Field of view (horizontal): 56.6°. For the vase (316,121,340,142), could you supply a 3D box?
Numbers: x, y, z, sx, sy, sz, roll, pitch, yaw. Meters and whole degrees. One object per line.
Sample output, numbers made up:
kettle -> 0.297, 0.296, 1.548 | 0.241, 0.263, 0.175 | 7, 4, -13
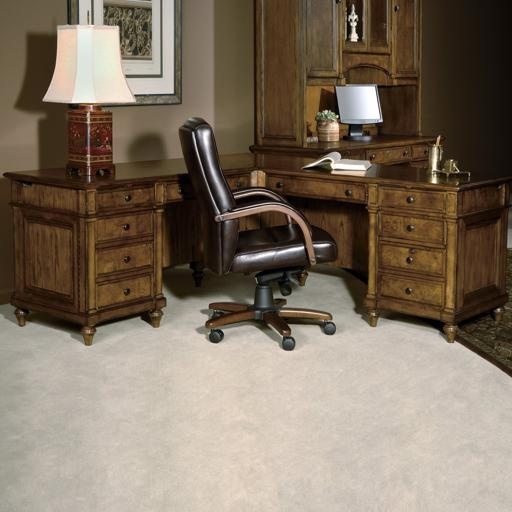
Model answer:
vase -> 0.590, -1.006, 3.886 | 0.166, 0.140, 0.166 | 0, 9, 9

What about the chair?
chair -> 0.025, -0.106, 2.570 | 0.749, 1.059, 0.670 | 0, 7, -9

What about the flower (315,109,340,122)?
flower -> 0.606, -1.143, 3.918 | 0.154, 0.083, 0.144 | -5, 10, -32

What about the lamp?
lamp -> -0.934, -0.857, 2.626 | 0.399, 0.875, 0.315 | 4, 7, 34

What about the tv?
tv -> 0.893, -1.250, 4.140 | 0.478, 0.464, 0.157 | -10, 15, -28
